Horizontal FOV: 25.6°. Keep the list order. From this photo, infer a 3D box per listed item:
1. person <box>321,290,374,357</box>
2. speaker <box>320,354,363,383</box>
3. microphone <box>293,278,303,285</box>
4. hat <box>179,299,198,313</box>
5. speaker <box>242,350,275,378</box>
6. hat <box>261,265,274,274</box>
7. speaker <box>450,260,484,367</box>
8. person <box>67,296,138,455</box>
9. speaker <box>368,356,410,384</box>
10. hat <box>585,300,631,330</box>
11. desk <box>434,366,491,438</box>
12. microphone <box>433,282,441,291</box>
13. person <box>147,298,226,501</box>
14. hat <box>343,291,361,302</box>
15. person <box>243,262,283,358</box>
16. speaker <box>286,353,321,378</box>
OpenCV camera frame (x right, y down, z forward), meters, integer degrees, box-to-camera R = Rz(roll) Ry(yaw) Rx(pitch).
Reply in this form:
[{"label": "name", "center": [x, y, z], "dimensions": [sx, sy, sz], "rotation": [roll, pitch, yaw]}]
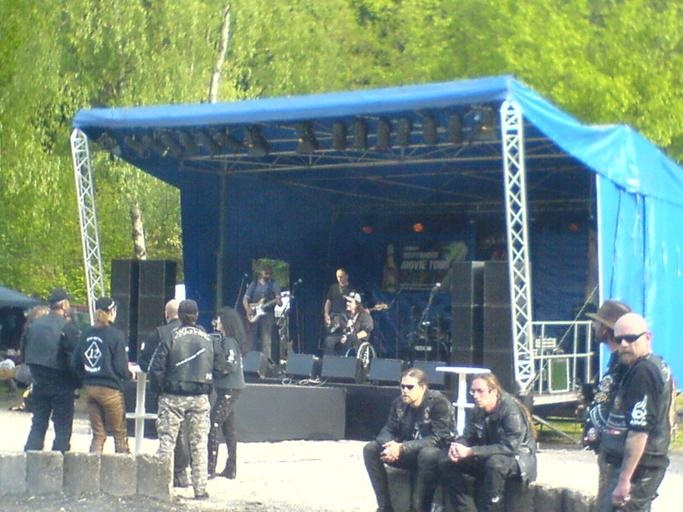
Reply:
[{"label": "person", "center": [0.148, 1.353, 29.489], "dimensions": [0.896, 1.202, 0.522], "rotation": [4, -4, 1]}, {"label": "speaker", "center": [0.005, 2.067, 27.604], "dimensions": [0.695, 0.488, 0.529], "rotation": [4, 6, 6]}, {"label": "microphone", "center": [-0.926, 0.572, 32.540], "dimensions": [0.167, 0.119, 0.164], "rotation": [-27, -15, 24]}, {"label": "hat", "center": [-2.464, 0.824, 24.373], "dimensions": [0.175, 0.286, 0.239], "rotation": [5, 5, 13]}, {"label": "speaker", "center": [-1.552, 2.069, 28.149], "dimensions": [0.429, 0.518, 0.473], "rotation": [5, -16, 19]}, {"label": "hat", "center": [-1.527, 0.282, 30.829], "dimensions": [0.158, 0.148, 0.178], "rotation": [1, -9, -5]}, {"label": "speaker", "center": [2.253, 1.025, 26.736], "dimensions": [0.626, 1.840, 0.241], "rotation": [3, -4, 7]}, {"label": "person", "center": [-3.962, 2.171, 24.991], "dimensions": [0.868, 3.297, 0.910], "rotation": [0, 18, -8]}, {"label": "speaker", "center": [0.805, 2.100, 27.232], "dimensions": [0.637, 0.443, 0.475], "rotation": [5, 7, 15]}, {"label": "hat", "center": [4.087, 0.854, 23.102], "dimensions": [0.397, 0.184, 0.431], "rotation": [19, 8, -16]}, {"label": "desk", "center": [2.147, 2.376, 25.268], "dimensions": [0.937, 1.325, 1.011], "rotation": [6, -11, -22]}, {"label": "microphone", "center": [2.067, 0.654, 32.254], "dimensions": [0.172, 0.207, 0.529], "rotation": [4, -6, 4]}, {"label": "person", "center": [-2.489, 2.468, 24.379], "dimensions": [1.077, 3.349, 1.103], "rotation": [4, -25, -11]}, {"label": "hat", "center": [0.243, 0.807, 29.742], "dimensions": [0.156, 0.110, 0.271], "rotation": [5, -16, 31]}, {"label": "person", "center": [-1.615, 1.106, 30.485], "dimensions": [0.747, 1.886, 0.586], "rotation": [4, -4, -4]}, {"label": "speaker", "center": [-0.729, 2.058, 27.946], "dimensions": [0.476, 0.466, 0.398], "rotation": [3, -17, 12]}]
